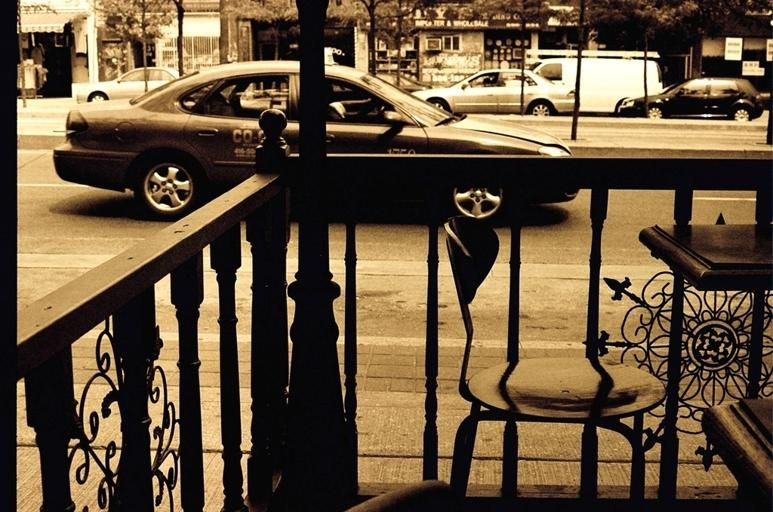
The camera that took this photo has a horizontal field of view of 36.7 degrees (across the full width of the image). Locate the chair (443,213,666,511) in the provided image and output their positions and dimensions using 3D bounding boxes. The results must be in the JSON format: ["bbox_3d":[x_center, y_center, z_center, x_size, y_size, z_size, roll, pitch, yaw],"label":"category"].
[{"bbox_3d":[0.924,0.738,6.254,1.123,2.033,1.256,-2,5,10],"label":"chair"}]

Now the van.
[{"bbox_3d":[4.922,-3.670,26.140,2.476,1.200,1.345,0,11,0],"label":"van"}]

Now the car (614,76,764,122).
[{"bbox_3d":[6.903,-3.194,26.027,2.633,1.054,1.313,3,13,2],"label":"car"}]

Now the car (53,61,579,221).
[{"bbox_3d":[-1.088,-1.132,11.572,4.452,1.543,1.011,2,12,13],"label":"car"}]
